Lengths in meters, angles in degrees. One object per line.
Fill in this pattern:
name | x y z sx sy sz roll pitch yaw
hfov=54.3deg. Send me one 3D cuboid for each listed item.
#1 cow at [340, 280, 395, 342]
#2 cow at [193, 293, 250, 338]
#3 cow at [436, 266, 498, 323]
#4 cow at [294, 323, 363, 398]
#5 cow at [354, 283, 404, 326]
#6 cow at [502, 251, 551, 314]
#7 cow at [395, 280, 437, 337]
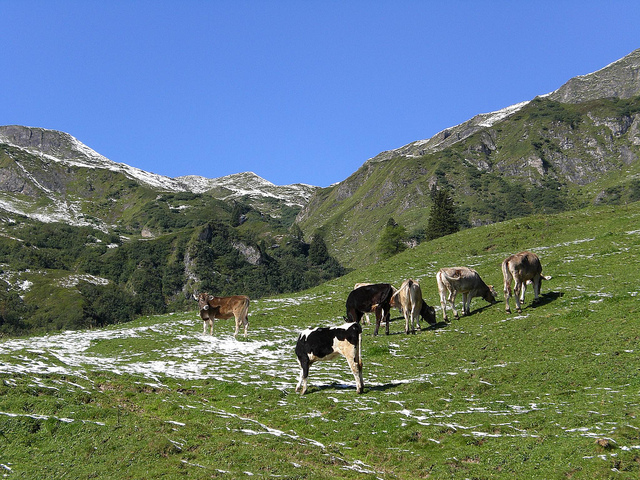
cow | 3.687 5.701 50.232 1.892 4.034 7.351 1 -9 -29
cow | -8.096 6.295 52.027 4.793 3.282 1.503 0 -6 14
cow | 12.008 4.769 51.723 4.130 5.062 3.953 -4 0 4
cow | 0.907 7.460 40.349 3.906 4.617 4.104 -1 -1 13
cow | 5.329 5.616 53.483 3.615 4.466 3.540 -5 -1 17
cow | 16.285 3.156 50.075 2.288 4.761 8.029 -3 -2 38
cow | 7.293 5.161 50.482 2.517 5.083 2.482 -4 0 39
